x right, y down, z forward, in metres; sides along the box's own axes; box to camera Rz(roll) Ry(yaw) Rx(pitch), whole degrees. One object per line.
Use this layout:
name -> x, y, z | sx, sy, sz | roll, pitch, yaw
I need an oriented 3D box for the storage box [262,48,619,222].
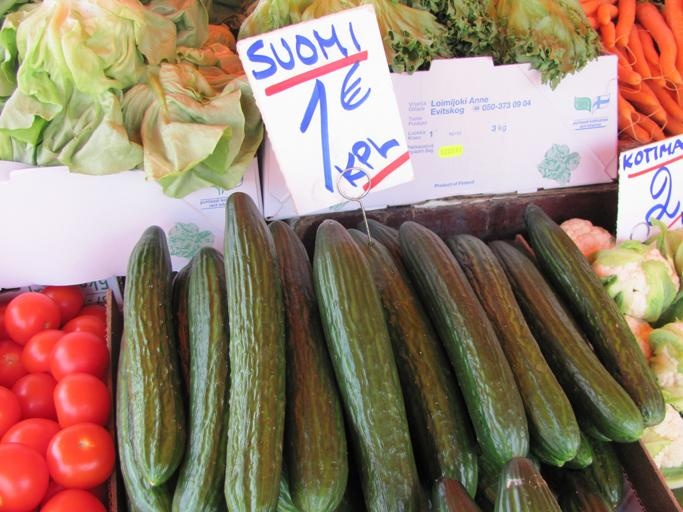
storage box -> 0.737, -0.573, 2.568 | 1.146, 0.483, 0.885 | -11, 19, -7
